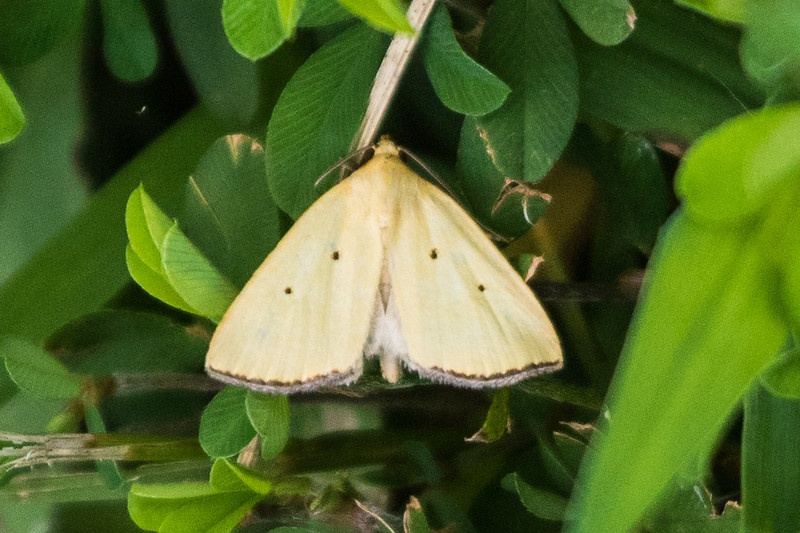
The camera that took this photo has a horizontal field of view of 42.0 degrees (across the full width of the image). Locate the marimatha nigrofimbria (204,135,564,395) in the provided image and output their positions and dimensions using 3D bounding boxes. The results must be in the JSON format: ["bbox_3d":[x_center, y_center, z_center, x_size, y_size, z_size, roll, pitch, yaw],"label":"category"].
[{"bbox_3d":[-0.037,-0.001,1.588,0.528,0.153,0.403,1,90,1],"label":"marimatha nigrofimbria"}]
